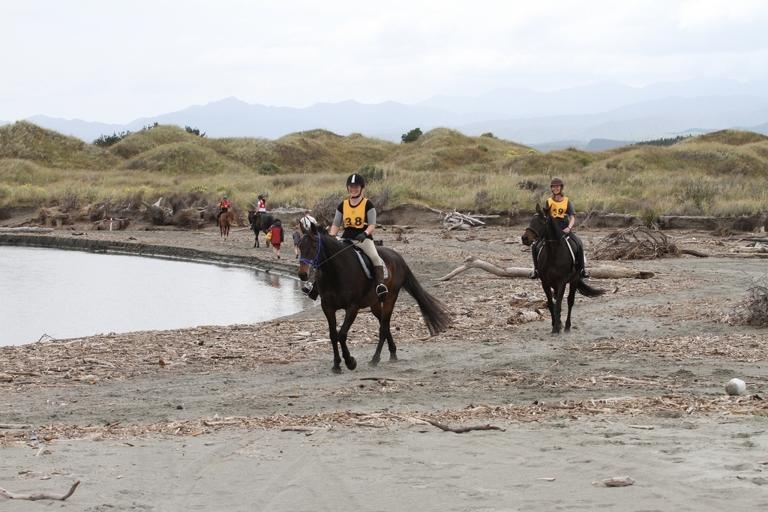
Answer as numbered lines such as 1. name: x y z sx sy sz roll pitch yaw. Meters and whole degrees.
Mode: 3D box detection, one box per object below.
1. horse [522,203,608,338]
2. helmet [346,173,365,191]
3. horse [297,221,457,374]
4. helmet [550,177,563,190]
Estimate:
1. horse: 4.258 0.268 16.607 1.410 3.076 2.868 0 8 21
2. helmet: -0.577 -1.512 13.937 0.331 0.321 0.386 0 -16 4
3. horse: -0.709 0.701 15.369 4.275 3.249 3.112 -8 10 -36
4. helmet: 4.132 -1.775 16.493 0.300 0.280 0.383 0 -12 7
